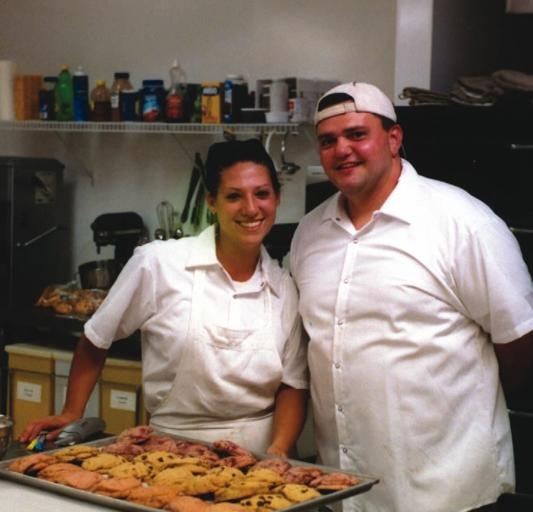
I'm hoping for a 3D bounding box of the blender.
[{"bbox_3d":[-0.828,-0.034,3.113,0.354,0.376,0.203,-4,10,-15],"label":"blender"}]

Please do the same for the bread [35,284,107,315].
[{"bbox_3d":[-0.990,0.223,2.949,0.272,0.095,0.206,8,6,31],"label":"bread"}]

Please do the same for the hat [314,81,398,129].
[{"bbox_3d":[0.217,-0.395,1.486,0.235,0.125,0.240,-3,7,16],"label":"hat"}]

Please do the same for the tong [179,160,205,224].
[{"bbox_3d":[-0.407,-0.338,3.072,0.100,0.370,0.087,1,-10,27],"label":"tong"}]
